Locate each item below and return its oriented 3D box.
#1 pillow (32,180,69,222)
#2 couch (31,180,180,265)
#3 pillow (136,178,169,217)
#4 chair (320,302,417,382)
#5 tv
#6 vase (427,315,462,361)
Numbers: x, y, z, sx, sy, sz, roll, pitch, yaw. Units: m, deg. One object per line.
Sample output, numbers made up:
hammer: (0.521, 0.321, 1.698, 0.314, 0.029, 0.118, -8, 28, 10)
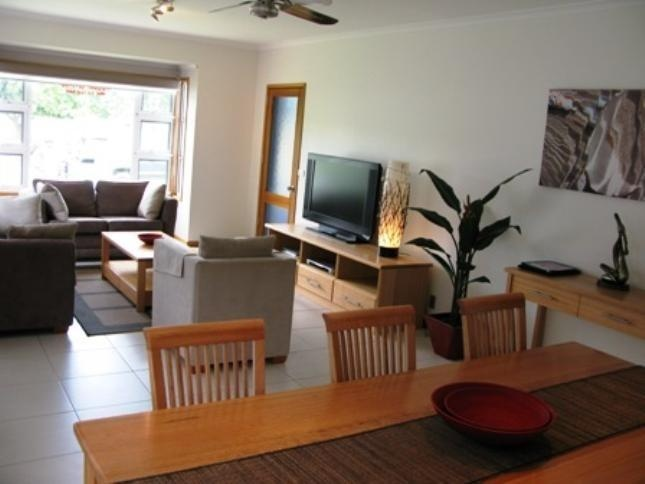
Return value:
pillow: (-3.627, -0.538, 6.355, 0.590, 0.425, 0.164, 31, 44, 31)
couch: (-2.800, -0.257, 6.091, 1.166, 0.690, 0.489, -2, 7, -33)
pillow: (-2.597, -0.661, 7.278, 0.311, 0.529, 0.632, -13, 10, -39)
chair: (0.200, 0.438, 2.329, 0.348, 0.615, 0.367, -4, 16, -15)
tv: (0.275, -0.527, 5.799, 0.277, 0.748, 1.034, -3, 14, -33)
vase: (1.210, 0.902, 4.552, 0.360, 0.333, 0.433, 0, 8, -21)
